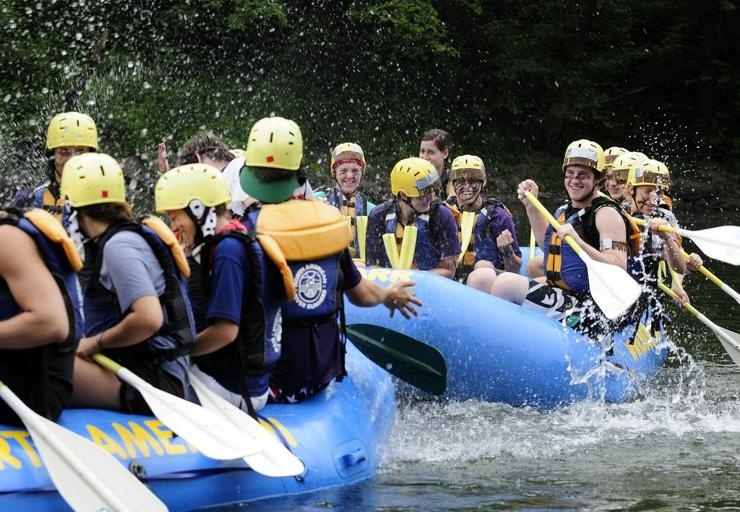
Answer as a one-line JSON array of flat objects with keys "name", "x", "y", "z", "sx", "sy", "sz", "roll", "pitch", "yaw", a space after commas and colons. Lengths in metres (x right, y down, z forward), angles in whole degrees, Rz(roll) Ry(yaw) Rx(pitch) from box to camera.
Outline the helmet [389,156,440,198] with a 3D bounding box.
[{"name": "helmet", "x": 0.432, "y": -0.809, "z": 9.348, "sx": 0.416, "sy": 0.363, "sz": 0.339, "roll": -2, "pitch": 31, "yaw": 6}]

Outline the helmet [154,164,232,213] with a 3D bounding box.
[{"name": "helmet", "x": -1.241, "y": -0.463, "z": 6.797, "sx": 0.417, "sy": 0.263, "sz": 0.321, "roll": 0, "pitch": -2, "yaw": -21}]

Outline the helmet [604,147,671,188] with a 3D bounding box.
[{"name": "helmet", "x": 2.783, "y": -0.922, "z": 10.003, "sx": 0.517, "sy": 0.293, "sz": 0.359, "roll": 15, "pitch": 11, "yaw": 35}]

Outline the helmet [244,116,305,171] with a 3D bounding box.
[{"name": "helmet", "x": -0.692, "y": -0.854, "z": 7.083, "sx": 0.303, "sy": 0.338, "sz": 0.432, "roll": 9, "pitch": -24, "yaw": 5}]

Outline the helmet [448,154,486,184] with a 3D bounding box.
[{"name": "helmet", "x": 1.040, "y": -0.938, "z": 10.179, "sx": 0.239, "sy": 0.285, "sz": 0.342, "roll": 2, "pitch": 8, "yaw": 8}]

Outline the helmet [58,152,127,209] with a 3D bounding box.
[{"name": "helmet", "x": -1.865, "y": -0.516, "z": 6.546, "sx": 0.300, "sy": 0.349, "sz": 0.423, "roll": -1, "pitch": 21, "yaw": -18}]

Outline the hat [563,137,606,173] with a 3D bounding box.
[{"name": "hat", "x": 2.061, "y": -0.984, "z": 9.246, "sx": 0.259, "sy": 0.331, "sz": 0.378, "roll": 6, "pitch": 11, "yaw": 15}]

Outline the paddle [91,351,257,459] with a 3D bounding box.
[{"name": "paddle", "x": -1.366, "y": 1.044, "z": 6.625, "sx": 0.926, "sy": 0.048, "sz": 0.260, "roll": 36, "pitch": 37, "yaw": 8}]

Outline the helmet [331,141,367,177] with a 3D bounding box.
[{"name": "helmet", "x": -0.223, "y": -1.106, "z": 10.547, "sx": 0.277, "sy": 0.360, "sz": 0.404, "roll": 1, "pitch": -17, "yaw": -6}]

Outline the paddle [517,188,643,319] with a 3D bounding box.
[{"name": "paddle", "x": 1.920, "y": -0.074, "z": 8.906, "sx": 0.088, "sy": 0.435, "sz": 1.707, "roll": 33, "pitch": 20, "yaw": -52}]

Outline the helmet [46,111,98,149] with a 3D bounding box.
[{"name": "helmet", "x": -2.661, "y": -1.123, "z": 8.616, "sx": 0.305, "sy": 0.387, "sz": 0.411, "roll": 2, "pitch": -11, "yaw": -29}]

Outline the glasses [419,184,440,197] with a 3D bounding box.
[{"name": "glasses", "x": 0.570, "y": -0.601, "z": 9.278, "sx": 0.153, "sy": 0.064, "sz": 0.122, "roll": -31, "pitch": 0, "yaw": 35}]
